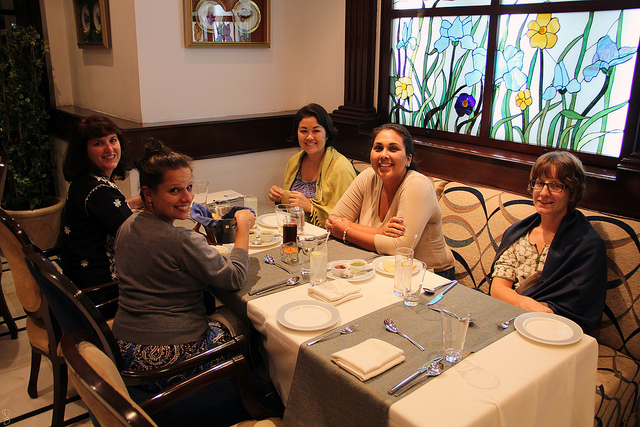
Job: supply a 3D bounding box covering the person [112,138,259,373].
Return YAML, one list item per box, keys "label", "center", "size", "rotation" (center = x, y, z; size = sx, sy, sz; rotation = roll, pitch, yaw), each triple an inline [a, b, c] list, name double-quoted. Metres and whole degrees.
- label: "person"
  center: [-0.701, 0.390, 2.271]
  size: [0.799, 1.421, 0.645]
  rotation: [0, 1, -44]

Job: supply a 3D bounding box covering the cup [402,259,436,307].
- label: "cup"
  center: [0.496, 0.366, 2.122]
  size: [0.166, 0.195, 0.168]
  rotation: [-3, 16, 1]

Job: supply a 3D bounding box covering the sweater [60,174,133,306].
- label: "sweater"
  center: [-1.273, 0.174, 2.369]
  size: [0.417, 0.724, 0.551]
  rotation: [-10, 21, -34]

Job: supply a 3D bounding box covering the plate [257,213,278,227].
- label: "plate"
  center: [-0.369, 0.052, 2.892]
  size: [0.132, 0.035, 0.216]
  rotation: [-2, 22, -9]

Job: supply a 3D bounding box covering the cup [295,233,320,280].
- label: "cup"
  center: [-0.050, 0.259, 2.318]
  size: [0.163, 0.258, 0.162]
  rotation: [-1, -1, 0]

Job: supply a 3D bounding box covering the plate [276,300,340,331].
- label: "plate"
  center: [-0.058, 0.475, 1.929]
  size: [0.292, 0.030, 0.200]
  rotation: [1, 22, -2]

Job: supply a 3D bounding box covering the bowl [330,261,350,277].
- label: "bowl"
  center: [0.102, 0.311, 2.280]
  size: [0.076, 0.044, 0.075]
  rotation: [3, 10, -1]

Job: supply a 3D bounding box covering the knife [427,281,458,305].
- label: "knife"
  center: [0.615, 0.415, 2.115]
  size: [0.060, 0.021, 0.383]
  rotation: [15, 18, 29]

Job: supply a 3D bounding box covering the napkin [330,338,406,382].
- label: "napkin"
  center: [0.199, 0.578, 1.681]
  size: [0.165, 0.039, 0.154]
  rotation: [-14, 20, -38]

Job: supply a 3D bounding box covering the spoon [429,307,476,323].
- label: "spoon"
  center: [0.581, 0.453, 1.847]
  size: [0.155, 0.026, 0.030]
  rotation: [26, 34, -10]

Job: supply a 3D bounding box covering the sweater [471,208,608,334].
- label: "sweater"
  center: [1.426, 0.319, 2.629]
  size: [0.424, 0.664, 0.717]
  rotation: [-4, 7, -21]

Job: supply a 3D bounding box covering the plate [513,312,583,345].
- label: "plate"
  center: [1.019, 0.518, 1.879]
  size: [0.285, 0.028, 0.214]
  rotation: [3, 22, 4]

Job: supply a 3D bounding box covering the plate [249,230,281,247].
- label: "plate"
  center: [-0.345, 0.178, 2.617]
  size: [0.200, 0.027, 0.103]
  rotation: [-3, 22, -11]

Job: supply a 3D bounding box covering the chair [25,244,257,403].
- label: "chair"
  center: [-0.822, 0.515, 1.993]
  size: [0.525, 0.766, 0.479]
  rotation: [-28, 53, -31]

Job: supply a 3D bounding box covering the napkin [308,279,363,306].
- label: "napkin"
  center: [0.066, 0.400, 2.134]
  size: [0.271, 0.057, 0.283]
  rotation: [0, 12, 19]

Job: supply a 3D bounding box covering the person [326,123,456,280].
- label: "person"
  center: [0.480, -0.023, 2.852]
  size: [0.842, 1.064, 0.805]
  rotation: [2, 17, 22]

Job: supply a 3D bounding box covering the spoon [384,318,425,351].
- label: "spoon"
  center: [0.359, 0.507, 1.847]
  size: [0.059, 0.037, 0.249]
  rotation: [-12, 34, -28]
